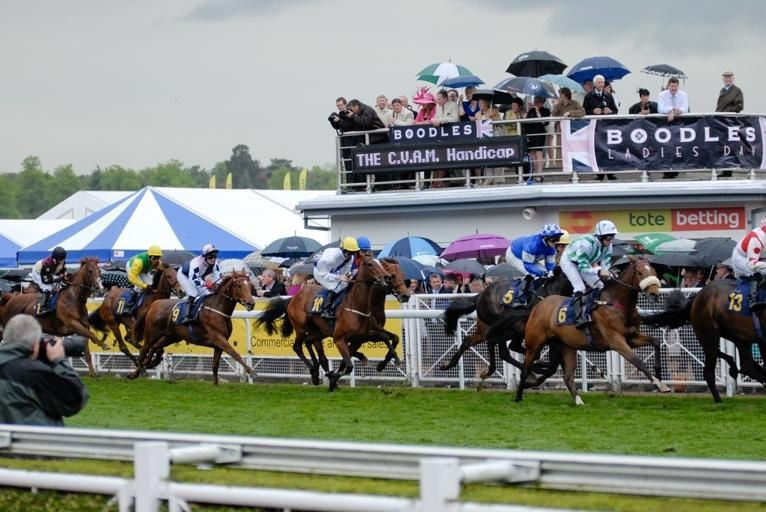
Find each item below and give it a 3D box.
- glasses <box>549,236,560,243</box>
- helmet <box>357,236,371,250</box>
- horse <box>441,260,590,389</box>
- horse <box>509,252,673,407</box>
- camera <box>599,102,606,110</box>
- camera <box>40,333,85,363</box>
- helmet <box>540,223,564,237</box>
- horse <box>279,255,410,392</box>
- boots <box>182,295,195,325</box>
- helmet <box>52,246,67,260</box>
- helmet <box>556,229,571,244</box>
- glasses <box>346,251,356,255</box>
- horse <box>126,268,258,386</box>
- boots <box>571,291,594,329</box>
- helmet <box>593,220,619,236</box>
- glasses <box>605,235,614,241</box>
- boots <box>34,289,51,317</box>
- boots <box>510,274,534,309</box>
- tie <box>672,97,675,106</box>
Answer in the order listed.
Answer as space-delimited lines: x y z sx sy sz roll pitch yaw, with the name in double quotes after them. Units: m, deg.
2.325 -0.253 19.864 0.082 0.053 0.099 3 -14 -16 "glasses"
-0.293 -0.197 20.586 0.156 0.101 0.198 -1 -3 -29 "helmet"
1.848 0.854 20.259 0.703 1.611 2.973 7 0 -38 "horse"
2.655 1.001 19.519 0.807 1.817 3.337 4 -7 -29 "horse"
3.527 -2.414 23.678 0.116 0.104 0.198 2 -4 -7 "camera"
-3.428 0.939 15.770 0.469 0.256 0.247 0 4 -14 "camera"
2.275 -0.377 19.892 0.249 0.109 0.162 -5 1 14 "helmet"
-0.509 0.887 20.747 0.892 1.869 2.258 -4 3 -37 "horse"
-2.822 0.727 21.385 0.171 0.378 0.152 -2 3 17 "boots"
-4.954 -0.093 22.535 0.223 0.173 0.179 12 15 32 "helmet"
2.459 -0.288 19.954 0.229 0.145 0.244 -1 -1 -8 "helmet"
-0.451 -0.082 20.741 0.083 0.039 0.059 13 0 8 "glasses"
-2.868 1.010 21.749 2.741 1.623 0.656 -1 -2 41 "horse"
2.584 0.667 19.010 0.276 0.512 0.135 -18 -50 27 "boots"
2.880 -0.381 19.105 0.228 0.173 0.327 1 -4 -43 "helmet"
2.945 -0.265 19.037 0.070 0.065 0.021 0 -9 19 "glasses"
-5.185 0.684 22.504 0.313 0.422 0.155 -13 -42 20 "boots"
1.921 0.440 20.053 0.436 0.280 0.152 -36 -12 -2 "boots"
4.685 -2.490 23.748 0.052 0.146 0.109 -2 3 11 "tie"
